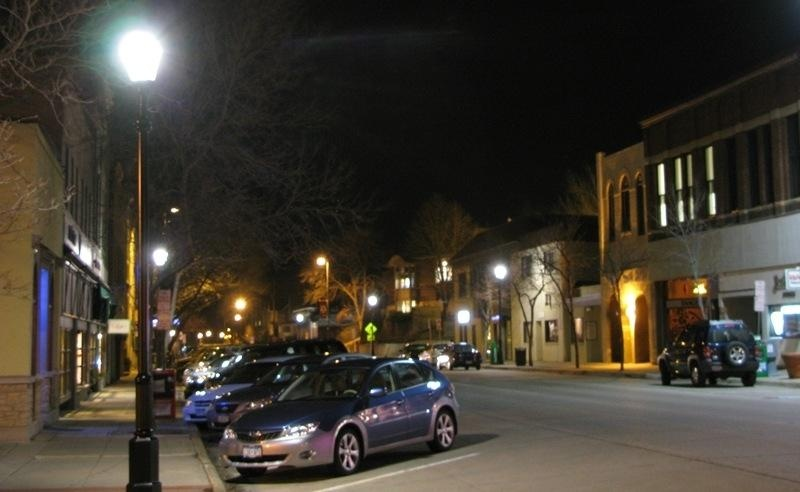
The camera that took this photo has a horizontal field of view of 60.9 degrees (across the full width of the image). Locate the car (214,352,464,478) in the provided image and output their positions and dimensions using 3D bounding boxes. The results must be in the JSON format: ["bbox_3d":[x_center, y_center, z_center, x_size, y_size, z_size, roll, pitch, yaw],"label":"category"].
[{"bbox_3d":[-1.081,4.062,16.143,4.741,1.893,2.697,11,-20,-43],"label":"car"}]

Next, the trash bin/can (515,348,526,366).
[{"bbox_3d":[8.867,8.229,50.204,0.617,1.225,1.017,-4,-15,4],"label":"trash bin/can"}]

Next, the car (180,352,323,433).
[{"bbox_3d":[-3.679,4.298,21.541,2.316,1.677,4.898,-14,-11,40],"label":"car"}]

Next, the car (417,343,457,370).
[{"bbox_3d":[3.010,8.163,49.763,1.745,1.370,3.917,1,-5,-9],"label":"car"}]
